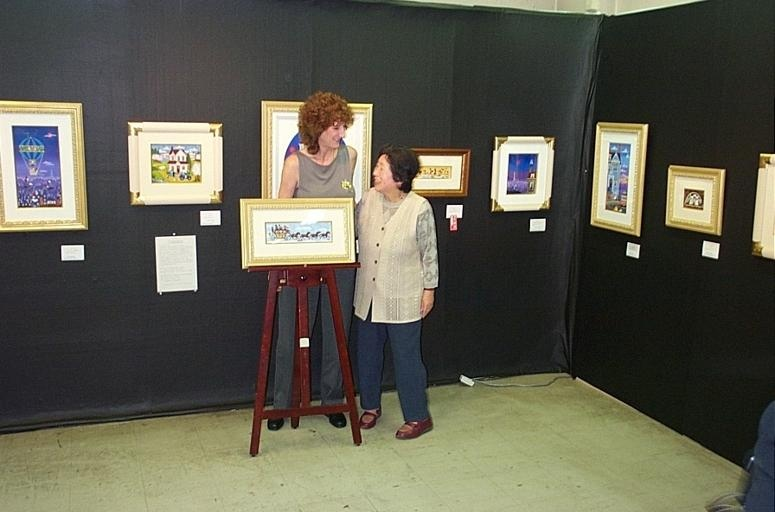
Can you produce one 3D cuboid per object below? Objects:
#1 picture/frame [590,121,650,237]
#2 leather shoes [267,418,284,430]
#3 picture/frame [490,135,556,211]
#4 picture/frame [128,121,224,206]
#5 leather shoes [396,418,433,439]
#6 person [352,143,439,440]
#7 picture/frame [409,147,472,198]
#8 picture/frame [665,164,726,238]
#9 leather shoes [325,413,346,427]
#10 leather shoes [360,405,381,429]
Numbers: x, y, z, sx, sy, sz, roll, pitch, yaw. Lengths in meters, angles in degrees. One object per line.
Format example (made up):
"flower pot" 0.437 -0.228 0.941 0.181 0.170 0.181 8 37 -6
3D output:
"picture/frame" 2.162 -0.734 5.377 0.109 0.992 0.640 -6 13 -22
"leather shoes" -0.947 1.436 4.972 0.076 0.047 0.136 2 23 0
"picture/frame" 1.305 -0.840 5.654 0.699 0.746 0.061 -3 11 -21
"picture/frame" -1.796 -0.798 4.823 0.686 0.663 0.082 -1 7 -15
"leather shoes" 0.236 1.476 4.943 0.305 0.123 0.132 -3 5 -30
"person" 0.061 0.325 4.791 0.702 2.413 0.395 0 12 6
"picture/frame" 0.473 -0.790 5.336 0.528 0.389 0.048 -1 8 -21
"picture/frame" 2.535 -0.460 4.702 0.040 0.542 0.526 -5 14 -25
"leather shoes" -0.437 1.406 5.043 0.088 0.098 0.243 -4 18 -21
"leather shoes" -0.143 1.423 5.033 0.091 0.102 0.249 0 0 14
